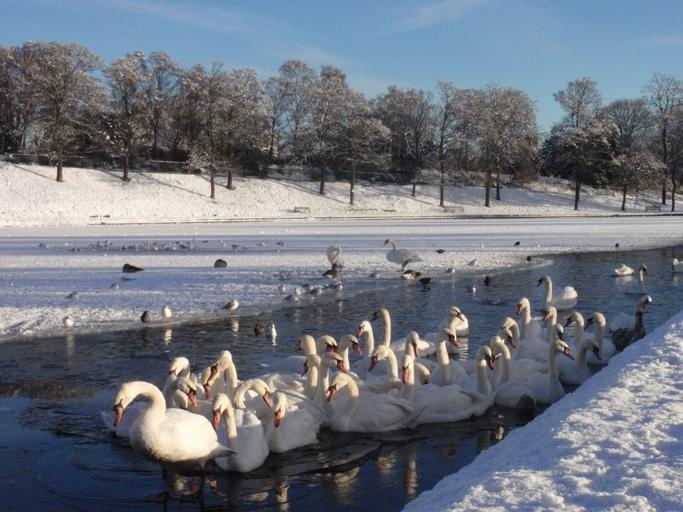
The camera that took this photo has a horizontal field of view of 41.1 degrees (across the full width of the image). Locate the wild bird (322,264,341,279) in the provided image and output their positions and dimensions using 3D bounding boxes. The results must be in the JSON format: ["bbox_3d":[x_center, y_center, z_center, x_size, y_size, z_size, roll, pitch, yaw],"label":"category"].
[{"bbox_3d":[-0.331,0.585,31.354,0.455,0.521,1.267,0,0,5],"label":"wild bird"}]

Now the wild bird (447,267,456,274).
[{"bbox_3d":[3.855,0.549,32.084,0.185,0.181,0.257,0,-4,-7],"label":"wild bird"}]

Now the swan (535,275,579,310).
[{"bbox_3d":[6.068,1.122,25.573,1.344,1.198,0.569,-3,2,-28],"label":"swan"}]

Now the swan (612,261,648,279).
[{"bbox_3d":[9.942,0.554,31.433,1.184,0.834,0.686,2,4,18],"label":"swan"}]

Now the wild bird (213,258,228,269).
[{"bbox_3d":[-4.376,0.317,33.235,0.395,0.279,0.387,13,21,34],"label":"wild bird"}]

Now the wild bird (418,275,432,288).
[{"bbox_3d":[2.698,0.863,29.589,0.209,0.312,0.408,0,-2,-35],"label":"wild bird"}]

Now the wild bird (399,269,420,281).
[{"bbox_3d":[2.364,0.697,31.059,0.268,0.280,0.825,-8,-6,31],"label":"wild bird"}]
